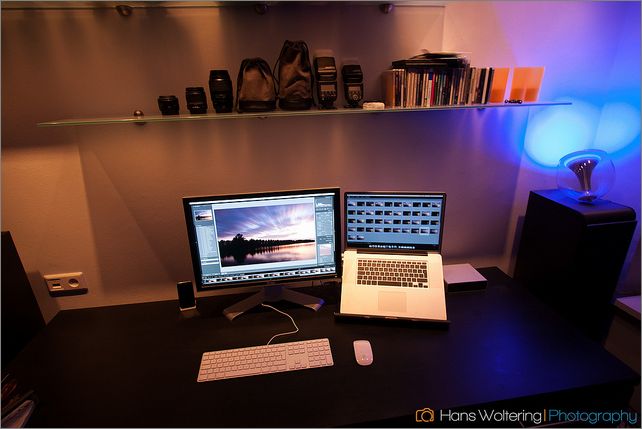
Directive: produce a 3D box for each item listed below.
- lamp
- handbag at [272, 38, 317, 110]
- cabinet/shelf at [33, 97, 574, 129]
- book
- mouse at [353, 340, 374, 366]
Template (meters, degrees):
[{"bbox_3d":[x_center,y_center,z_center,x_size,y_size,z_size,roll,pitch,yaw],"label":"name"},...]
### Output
[{"bbox_3d":[1.625,-0.213,2.702,0.321,0.293,0.332,3,-11,20],"label":"lamp"},{"bbox_3d":[-0.137,-0.737,2.324,0.187,0.350,0.143,-4,20,-3],"label":"handbag"},{"bbox_3d":[-0.129,-0.554,2.397,2.613,0.096,0.305,-4,18,-6],"label":"cabinet/shelf"},{"bbox_3d":[0.650,-0.718,2.395,0.321,0.135,0.416,-3,20,-3],"label":"book"},{"bbox_3d":[0.220,0.706,2.245,0.090,0.024,0.147,1,34,-8],"label":"mouse"}]
